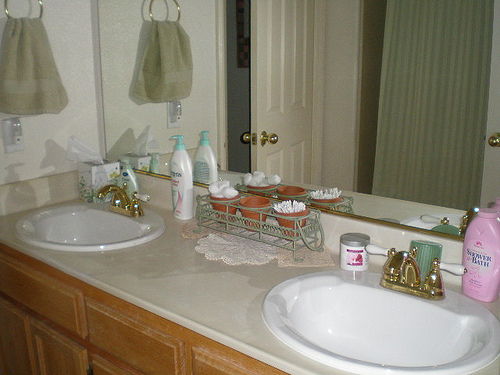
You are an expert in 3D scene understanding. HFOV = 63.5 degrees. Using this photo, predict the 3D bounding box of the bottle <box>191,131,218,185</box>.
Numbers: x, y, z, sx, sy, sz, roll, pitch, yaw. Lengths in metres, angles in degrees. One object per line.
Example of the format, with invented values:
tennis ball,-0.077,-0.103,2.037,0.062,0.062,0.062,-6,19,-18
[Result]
bottle,-0.189,-0.109,1.719,0.128,0.191,0.043,8,15,36

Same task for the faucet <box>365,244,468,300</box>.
faucet,0.491,0.240,1.180,0.184,0.137,0.227,-8,20,-32

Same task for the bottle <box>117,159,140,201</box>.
bottle,-0.553,-0.024,1.819,0.099,0.201,0.036,6,13,14

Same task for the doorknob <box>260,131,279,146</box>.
doorknob,0.074,-0.186,1.541,0.040,0.043,0.055,-19,10,-41

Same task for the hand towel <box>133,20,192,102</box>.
hand towel,-0.397,-0.567,1.806,0.326,0.349,0.066,8,15,35

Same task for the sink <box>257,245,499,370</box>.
sink,0.339,0.360,1.096,0.442,0.220,0.336,14,22,40

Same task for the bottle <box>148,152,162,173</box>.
bottle,-0.444,-0.117,1.886,0.089,0.097,0.021,9,16,40

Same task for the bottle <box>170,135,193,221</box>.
bottle,-0.285,-0.046,1.689,0.079,0.350,0.103,-6,7,-39
